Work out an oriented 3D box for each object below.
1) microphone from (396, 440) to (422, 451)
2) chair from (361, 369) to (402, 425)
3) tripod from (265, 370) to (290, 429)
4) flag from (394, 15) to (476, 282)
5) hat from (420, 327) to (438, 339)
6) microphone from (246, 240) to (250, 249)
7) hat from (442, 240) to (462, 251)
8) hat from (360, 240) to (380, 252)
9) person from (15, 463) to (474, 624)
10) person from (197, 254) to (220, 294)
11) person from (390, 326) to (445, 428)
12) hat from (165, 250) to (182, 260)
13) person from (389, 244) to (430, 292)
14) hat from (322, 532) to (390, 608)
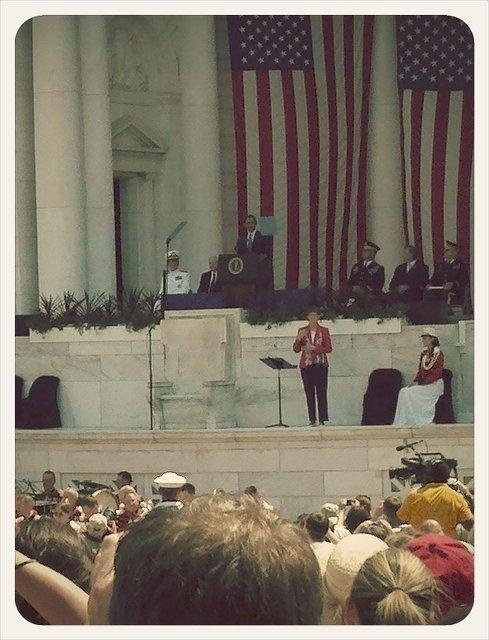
[{"bbox_3d":[1.786,1.345,15.916,0.286,0.122,0.101,-2,1,1],"label":"microphone"},{"bbox_3d":[1.515,0.851,16.290,0.321,0.718,0.154,5,-5,19],"label":"chair"},{"bbox_3d":[0.374,0.852,16.468,0.187,0.613,0.260,-2,1,5],"label":"tripod"},{"bbox_3d":[2.560,-2.368,19.558,0.971,3.273,1.056,-1,2,9],"label":"flag"},{"bbox_3d":[2.021,0.126,16.148,0.140,0.084,0.115,15,-7,-2],"label":"hat"},{"bbox_3d":[0.047,-0.942,18.138,0.019,0.076,0.049,-1,-2,-12],"label":"microphone"},{"bbox_3d":[2.460,-0.918,17.607,0.235,0.128,0.207,12,6,19],"label":"hat"},{"bbox_3d":[1.526,-0.907,17.772,0.206,0.087,0.174,37,-5,-6],"label":"hat"},{"bbox_3d":[0.052,1.826,10.882,3.430,1.139,1.050,-2,1,-10],"label":"person"},{"bbox_3d":[-0.463,-0.588,18.271,0.232,0.432,0.849,-2,1,-2],"label":"person"},{"bbox_3d":[1.901,0.628,16.090,0.570,1.010,0.393,-2,1,5],"label":"person"},{"bbox_3d":[-0.920,-0.874,19.281,0.196,0.120,0.286,-2,-11,-10],"label":"hat"},{"bbox_3d":[1.937,-0.616,17.445,0.473,0.566,0.721,-2,1,15],"label":"person"},{"bbox_3d":[0.829,1.872,11.159,0.446,0.369,0.478,-1,-5,-10],"label":"hat"}]
